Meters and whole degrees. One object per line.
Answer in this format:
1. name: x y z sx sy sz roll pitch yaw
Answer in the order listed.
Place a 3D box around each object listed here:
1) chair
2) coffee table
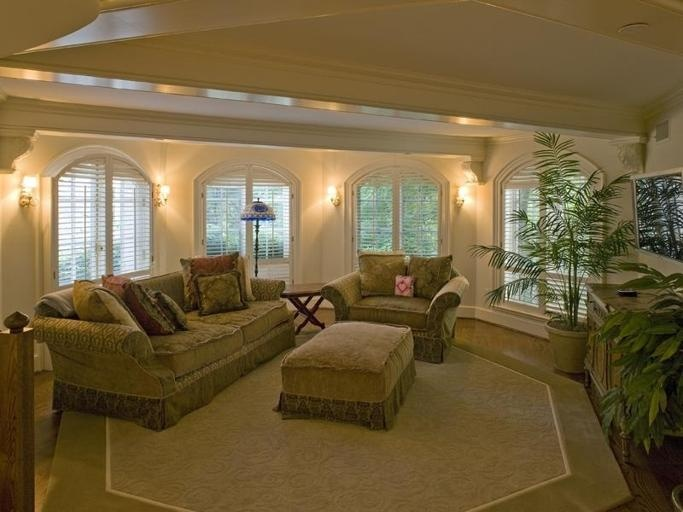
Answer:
1. chair: 0.636 0.641 5.854 1.593 0.932 1.249 1 4 10
2. coffee table: 0.120 0.974 4.441 1.053 0.587 1.252 1 11 25
